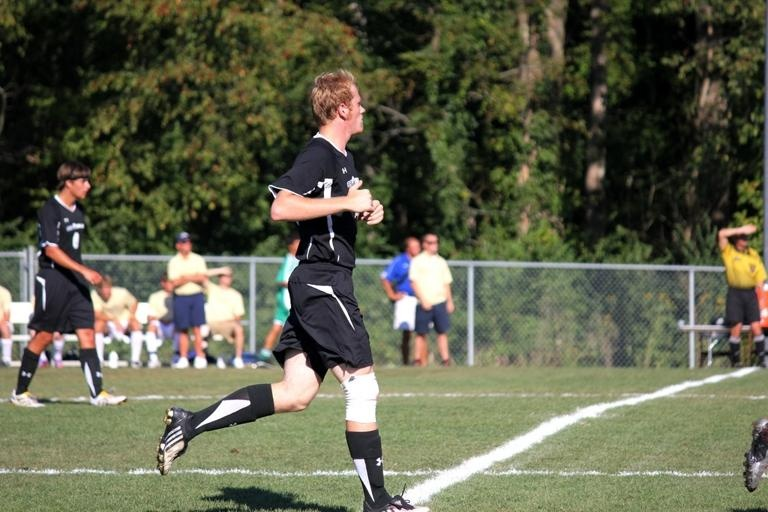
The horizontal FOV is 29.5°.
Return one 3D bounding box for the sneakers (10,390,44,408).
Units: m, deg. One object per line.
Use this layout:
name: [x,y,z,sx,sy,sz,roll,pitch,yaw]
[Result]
sneakers: [-6.525,2.597,26.638,0.621,0.263,0.251,5,3,-4]
